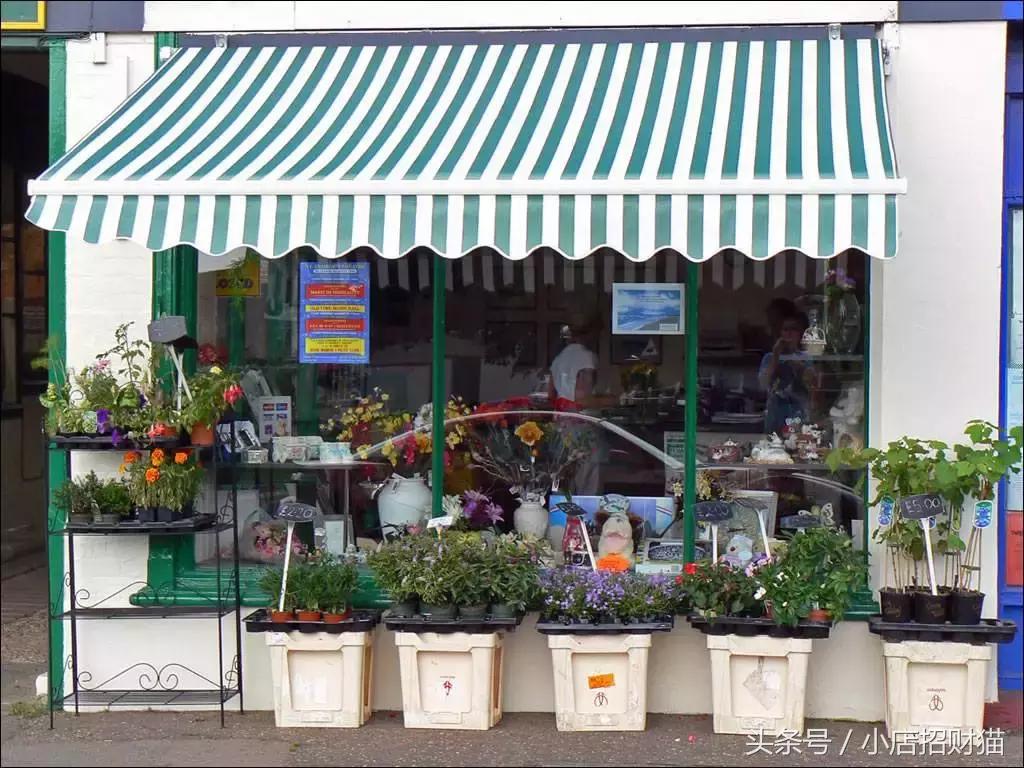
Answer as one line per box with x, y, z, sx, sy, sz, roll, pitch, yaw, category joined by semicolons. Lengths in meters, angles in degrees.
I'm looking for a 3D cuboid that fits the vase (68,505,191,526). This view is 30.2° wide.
-3.181;1.095;15.829;1.030;0.151;0.304;1;-4;-18;vase

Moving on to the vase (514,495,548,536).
0.177;1.133;16.338;0.283;0.393;0.281;1;1;-39;vase

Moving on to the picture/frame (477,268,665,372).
0.467;-0.476;16.338;1.432;0.736;0.182;-1;-4;0;picture/frame

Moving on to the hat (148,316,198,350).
-2.825;-0.425;15.787;0.270;0.269;0.421;-4;-5;40;hat

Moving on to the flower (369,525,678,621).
0.050;1.606;15.726;2.457;0.755;0.712;0;-4;-5;flower

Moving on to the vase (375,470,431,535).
-0.950;1.027;16.403;0.453;0.560;0.457;2;-1;-16;vase
